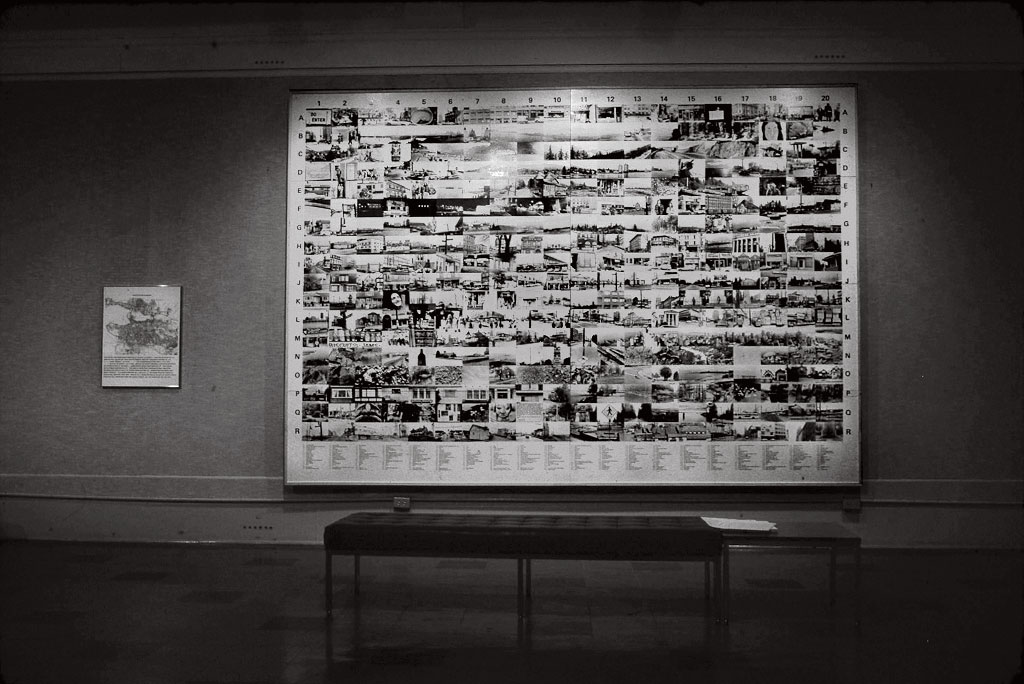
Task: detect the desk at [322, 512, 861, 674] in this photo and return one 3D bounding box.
[{"bbox_3d":[0.659,2.009,11.816,4.572,1.046,1.631,1,-1,-1],"label":"desk"}]
